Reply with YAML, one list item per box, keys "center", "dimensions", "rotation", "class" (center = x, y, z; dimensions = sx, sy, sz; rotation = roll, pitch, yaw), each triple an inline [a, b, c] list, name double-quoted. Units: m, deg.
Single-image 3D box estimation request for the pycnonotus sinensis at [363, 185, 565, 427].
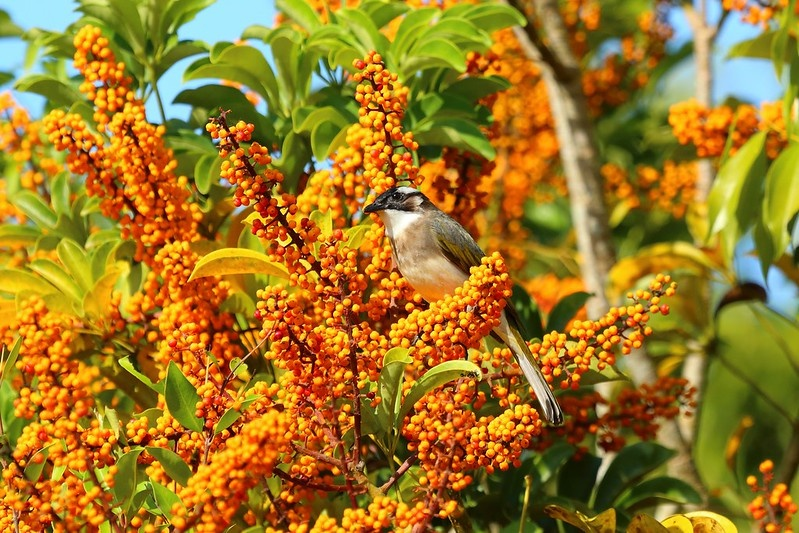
- center: [0.381, -0.042, 6.505]
  dimensions: [0.458, 0.833, 1.578]
  rotation: [4, -2, 45]
  class: "pycnonotus sinensis"
